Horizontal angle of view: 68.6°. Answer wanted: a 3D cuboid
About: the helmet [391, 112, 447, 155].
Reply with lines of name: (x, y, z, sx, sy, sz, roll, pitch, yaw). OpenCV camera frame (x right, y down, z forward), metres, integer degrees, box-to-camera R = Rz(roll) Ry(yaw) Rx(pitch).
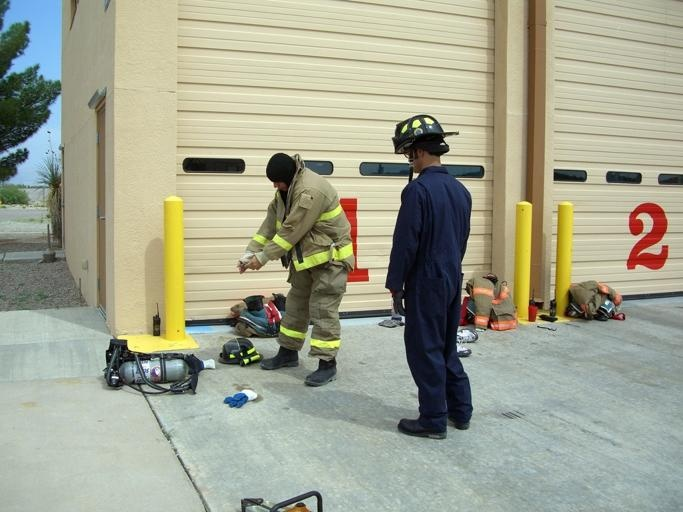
helmet: (0.663, -0.960, 4.022, 0.384, 0.272, 0.500, -15, 16, -42)

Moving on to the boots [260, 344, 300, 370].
boots: (-0.616, 1.085, 5.241, 0.462, 0.293, 0.176, 5, -4, -17)

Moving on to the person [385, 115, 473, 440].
person: (0.730, 0.147, 3.879, 0.714, 2.437, 0.636, 3, 10, 9)

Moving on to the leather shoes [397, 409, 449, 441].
leather shoes: (0.642, 1.290, 3.896, 0.397, 0.224, 0.147, 6, 9, 13)

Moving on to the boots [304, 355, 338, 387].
boots: (-0.169, 1.136, 4.832, 0.394, 0.299, 0.166, 5, -8, -33)

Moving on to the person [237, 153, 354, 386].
person: (-0.421, 0.112, 4.970, 0.969, 2.196, 0.656, 6, 11, 25)

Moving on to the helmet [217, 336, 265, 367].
helmet: (-1.074, 1.012, 5.286, 0.297, 0.158, 0.357, 2, 6, 31)
